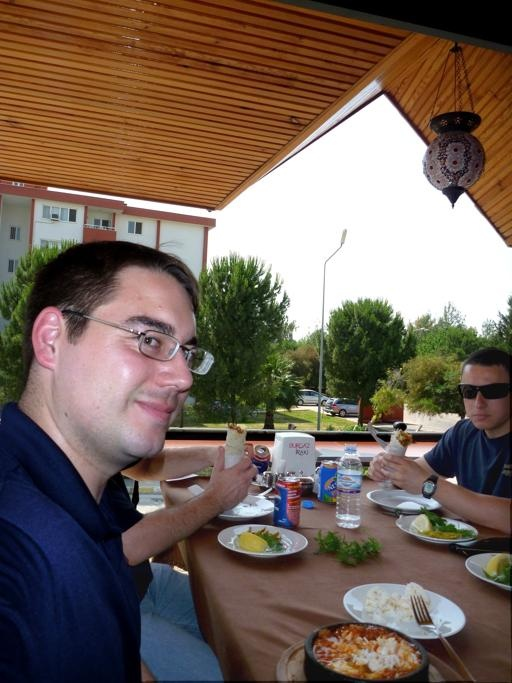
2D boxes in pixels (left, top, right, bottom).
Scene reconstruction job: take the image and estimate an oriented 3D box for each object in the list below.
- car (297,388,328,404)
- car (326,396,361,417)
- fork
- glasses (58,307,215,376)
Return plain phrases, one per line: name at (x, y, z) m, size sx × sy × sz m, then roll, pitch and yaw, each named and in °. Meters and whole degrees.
car at (2.887, 3.005, 27.310) m, size 1.909 × 0.705 × 0.914 m, roll -3°, pitch 1°, yaw -17°
car at (4.791, 3.713, 28.577) m, size 1.954 × 0.708 × 0.840 m, roll -2°, pitch -1°, yaw -7°
fork at (0.375, 0.604, 1.061) m, size 0.022 × 0.016 × 0.151 m, roll 16°, pitch 14°, yaw -18°
glasses at (-0.291, 0.012, 1.101) m, size 0.204 × 0.050 × 0.193 m, roll 19°, pitch -6°, yaw 27°
